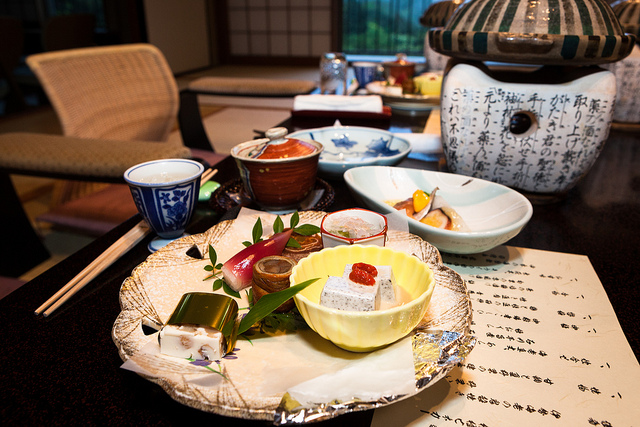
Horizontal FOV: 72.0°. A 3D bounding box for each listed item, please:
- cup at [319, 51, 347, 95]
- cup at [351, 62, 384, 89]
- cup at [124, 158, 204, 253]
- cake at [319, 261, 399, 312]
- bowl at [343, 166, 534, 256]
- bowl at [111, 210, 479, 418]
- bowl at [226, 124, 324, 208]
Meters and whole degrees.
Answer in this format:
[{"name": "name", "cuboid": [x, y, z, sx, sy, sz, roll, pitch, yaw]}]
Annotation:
[{"name": "cup", "cuboid": [0.065, -0.646, 2.071, 0.135, 0.195, 0.245, 0, 30, 1]}, {"name": "cup", "cuboid": [0.251, -0.753, 2.435, 0.167, 0.124, 0.163, 0, 18, 0]}, {"name": "cup", "cuboid": [-0.382, 0.008, 1.048, 0.185, 0.170, 0.172, -10, 2, 0]}, {"name": "cake", "cuboid": [0.074, 0.123, 0.796, 0.097, 0.049, 0.097, 5, 24, 12]}, {"name": "bowl", "cuboid": [0.290, -0.029, 1.088, 0.346, 0.084, 0.270, 20, 31, 32]}, {"name": "bowl", "cuboid": [-0.049, 0.189, 0.788, 0.446, 0.113, 0.422, 1, 29, 0]}, {"name": "bowl", "cuboid": [-0.098, -0.114, 1.171, 0.219, 0.173, 0.217, -1, 29, 1]}]
